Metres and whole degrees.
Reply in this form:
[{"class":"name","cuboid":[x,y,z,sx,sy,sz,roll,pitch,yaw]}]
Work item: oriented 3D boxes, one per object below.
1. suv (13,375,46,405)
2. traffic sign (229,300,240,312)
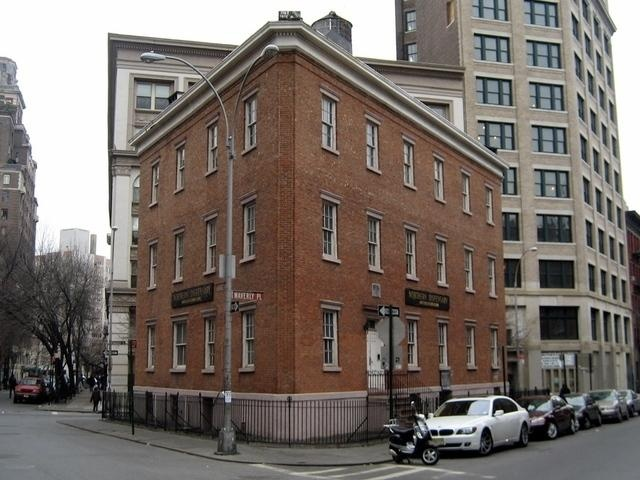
[{"class":"suv","cuboid":[-23.824,12.261,64.738,2.011,2.173,3.271,1,-13,-9]},{"class":"traffic sign","cuboid":[-3.900,2.970,35.606,0.313,0.654,0.615,-10,-16,30]}]
